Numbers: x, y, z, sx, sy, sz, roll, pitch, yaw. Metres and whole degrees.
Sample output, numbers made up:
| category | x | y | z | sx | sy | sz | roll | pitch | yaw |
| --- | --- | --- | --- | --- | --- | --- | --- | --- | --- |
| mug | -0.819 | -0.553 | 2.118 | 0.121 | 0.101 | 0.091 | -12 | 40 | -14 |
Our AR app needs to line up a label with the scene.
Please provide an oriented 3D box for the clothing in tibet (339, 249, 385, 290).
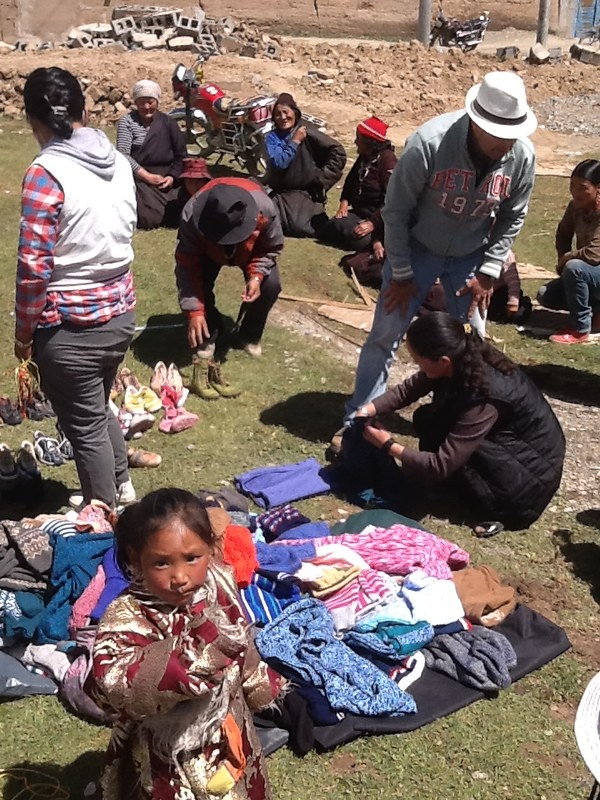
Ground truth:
| category | x | y | z | sx | sy | sz | roll | pitch | yaw |
| --- | --- | --- | --- | --- | --- | --- | --- | --- | --- |
| clothing in tibet | 0.684 | -1.412 | 8.028 | 0.552 | 0.205 | 0.446 | -1 | 59 | 5 |

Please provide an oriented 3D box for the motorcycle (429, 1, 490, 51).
| category | x | y | z | sx | sy | sz | roll | pitch | yaw |
| --- | --- | --- | --- | --- | --- | --- | --- | --- | --- |
| motorcycle | 5.219 | -12.246 | 24.683 | 1.694 | 1.115 | 1.551 | 8 | 23 | 2 |

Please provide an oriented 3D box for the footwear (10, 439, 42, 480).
| category | x | y | z | sx | sy | sz | roll | pitch | yaw |
| --- | --- | --- | --- | --- | --- | --- | --- | --- | --- |
| footwear | -1.589 | 0.335 | 4.299 | 0.119 | 0.111 | 0.303 | -7 | 28 | -20 |

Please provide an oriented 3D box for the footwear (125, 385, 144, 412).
| category | x | y | z | sx | sy | sz | roll | pitch | yaw |
| --- | --- | --- | --- | --- | --- | --- | --- | --- | --- |
| footwear | -1.178 | -0.008 | 5.273 | 0.105 | 0.096 | 0.255 | -12 | 37 | -21 |

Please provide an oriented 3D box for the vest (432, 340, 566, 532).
| category | x | y | z | sx | sy | sz | roll | pitch | yaw |
| --- | --- | --- | --- | --- | --- | --- | --- | --- | --- |
| vest | 1.089 | 0.227 | 4.430 | 0.840 | 0.934 | 0.783 | 4 | 5 | -8 |

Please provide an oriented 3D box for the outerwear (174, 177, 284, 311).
| category | x | y | z | sx | sy | sz | roll | pitch | yaw |
| --- | --- | --- | --- | --- | --- | --- | --- | --- | --- |
| outerwear | -0.518 | -1.238 | 5.654 | 0.852 | 0.661 | 1.088 | 3 | 68 | -9 |

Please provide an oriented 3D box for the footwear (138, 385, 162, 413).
| category | x | y | z | sx | sy | sz | roll | pitch | yaw |
| --- | --- | --- | --- | --- | --- | --- | --- | --- | --- |
| footwear | -1.072 | -0.010 | 5.348 | 0.102 | 0.071 | 0.233 | -15 | 35 | -21 |

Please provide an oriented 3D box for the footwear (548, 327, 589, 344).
| category | x | y | z | sx | sy | sz | roll | pitch | yaw |
| --- | --- | --- | --- | --- | --- | --- | --- | --- | --- |
| footwear | 2.500 | -0.605 | 6.906 | 0.381 | 0.120 | 0.135 | 4 | 1 | -1 |

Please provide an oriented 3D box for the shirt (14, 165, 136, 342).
| category | x | y | z | sx | sy | sz | roll | pitch | yaw |
| --- | --- | --- | --- | --- | --- | --- | --- | --- | --- |
| shirt | -1.004 | -0.656 | 3.321 | 0.389 | 0.669 | 0.654 | 28 | 44 | 26 |

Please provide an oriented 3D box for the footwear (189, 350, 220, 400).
| category | x | y | z | sx | sy | sz | roll | pitch | yaw |
| --- | --- | --- | --- | --- | --- | --- | --- | --- | --- |
| footwear | -0.734 | -0.199 | 5.701 | 0.214 | 0.307 | 0.364 | 1 | 24 | -14 |

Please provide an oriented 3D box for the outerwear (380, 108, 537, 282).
| category | x | y | z | sx | sy | sz | roll | pitch | yaw |
| --- | --- | --- | --- | --- | --- | --- | --- | --- | --- |
| outerwear | 0.925 | -1.205 | 4.465 | 0.939 | 0.965 | 0.509 | -1 | 42 | -9 |

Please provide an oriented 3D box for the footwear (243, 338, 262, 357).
| category | x | y | z | sx | sy | sz | roll | pitch | yaw |
| --- | --- | --- | --- | --- | --- | --- | --- | --- | --- |
| footwear | -0.396 | -0.442 | 6.284 | 0.102 | 0.145 | 0.151 | -8 | 30 | -38 |

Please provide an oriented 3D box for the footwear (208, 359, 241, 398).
| category | x | y | z | sx | sy | sz | roll | pitch | yaw |
| --- | --- | --- | --- | --- | --- | --- | --- | --- | --- |
| footwear | -0.592 | -0.163 | 5.785 | 0.333 | 0.220 | 0.112 | 33 | 54 | 21 |

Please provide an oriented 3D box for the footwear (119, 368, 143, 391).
| category | x | y | z | sx | sy | sz | roll | pitch | yaw |
| --- | --- | --- | --- | --- | --- | --- | --- | --- | --- |
| footwear | -1.277 | -0.154 | 5.582 | 0.138 | 0.076 | 0.217 | -27 | 50 | -29 |

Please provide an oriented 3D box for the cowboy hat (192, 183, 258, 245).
| category | x | y | z | sx | sy | sz | roll | pitch | yaw |
| --- | --- | --- | --- | --- | --- | --- | --- | --- | --- |
| cowboy hat | -0.541 | -1.348 | 5.357 | 0.470 | 0.392 | 0.366 | 5 | 24 | -5 |

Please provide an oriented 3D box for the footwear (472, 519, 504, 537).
| category | x | y | z | sx | sy | sz | roll | pitch | yaw |
| --- | --- | --- | --- | --- | --- | --- | --- | --- | --- |
| footwear | 1.090 | 0.742 | 4.296 | 0.134 | 0.028 | 0.088 | -9 | 36 | -1 |

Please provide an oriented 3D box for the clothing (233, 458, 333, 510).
| category | x | y | z | sx | sy | sz | roll | pitch | yaw |
| --- | --- | --- | --- | --- | --- | --- | --- | --- | --- |
| clothing | -0.094 | 0.506 | 4.638 | 0.398 | 0.099 | 0.311 | -14 | 27 | -31 |

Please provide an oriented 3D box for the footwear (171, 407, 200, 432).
| category | x | y | z | sx | sy | sz | roll | pitch | yaw |
| --- | --- | --- | --- | --- | --- | --- | --- | --- | --- |
| footwear | -0.822 | 0.137 | 5.260 | 0.175 | 0.053 | 0.159 | 13 | 31 | 16 |

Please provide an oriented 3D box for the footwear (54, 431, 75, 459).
| category | x | y | z | sx | sy | sz | roll | pitch | yaw |
| --- | --- | --- | --- | --- | --- | --- | --- | --- | --- |
| footwear | -1.427 | 0.279 | 4.509 | 0.091 | 0.098 | 0.234 | -15 | 45 | -30 |

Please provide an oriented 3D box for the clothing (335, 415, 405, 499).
| category | x | y | z | sx | sy | sz | roll | pitch | yaw |
| --- | --- | --- | --- | --- | --- | --- | --- | --- | --- |
| clothing | 0.463 | 0.367 | 4.678 | 0.424 | 0.485 | 0.212 | -20 | 5 | 28 |

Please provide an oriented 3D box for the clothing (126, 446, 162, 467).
| category | x | y | z | sx | sy | sz | roll | pitch | yaw |
| --- | --- | --- | --- | --- | --- | --- | --- | --- | --- |
| clothing | -0.997 | 0.368 | 4.816 | 0.275 | 0.101 | 0.084 | 3 | 45 | -22 |

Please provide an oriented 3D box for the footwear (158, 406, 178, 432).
| category | x | y | z | sx | sy | sz | roll | pitch | yaw |
| --- | --- | --- | --- | --- | --- | --- | --- | --- | --- |
| footwear | -0.933 | 0.144 | 5.271 | 0.120 | 0.110 | 0.216 | 3 | 23 | -9 |

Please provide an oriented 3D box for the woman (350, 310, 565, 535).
| category | x | y | z | sx | sy | sz | roll | pitch | yaw |
| --- | --- | --- | --- | --- | --- | --- | --- | --- | --- |
| woman | 0.931 | 0.148 | 4.395 | 1.361 | 1.317 | 0.820 | -11 | 28 | -15 |

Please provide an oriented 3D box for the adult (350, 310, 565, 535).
| category | x | y | z | sx | sy | sz | roll | pitch | yaw |
| --- | --- | --- | --- | --- | --- | --- | --- | --- | --- |
| adult | 0.939 | 0.164 | 4.409 | 1.376 | 1.333 | 0.823 | -9 | 27 | -13 |

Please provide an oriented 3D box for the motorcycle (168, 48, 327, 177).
| category | x | y | z | sx | sy | sz | roll | pitch | yaw |
| --- | --- | --- | --- | --- | --- | --- | --- | --- | --- |
| motorcycle | -1.033 | -4.009 | 10.358 | 2.724 | 1.459 | 1.016 | 25 | 49 | 38 |

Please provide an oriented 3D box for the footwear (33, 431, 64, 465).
| category | x | y | z | sx | sy | sz | roll | pitch | yaw |
| --- | --- | --- | --- | --- | --- | --- | --- | --- | --- |
| footwear | -1.650 | 0.302 | 4.791 | 0.278 | 0.107 | 0.131 | 30 | 23 | 38 |

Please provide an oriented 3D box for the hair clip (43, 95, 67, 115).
| category | x | y | z | sx | sy | sz | roll | pitch | yaw |
| --- | --- | --- | --- | --- | --- | --- | --- | --- | --- |
| hair clip | -1.025 | -1.254 | 3.160 | 0.039 | 0.077 | 0.112 | 22 | 27 | 26 |

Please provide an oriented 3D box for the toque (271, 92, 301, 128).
| category | x | y | z | sx | sy | sz | roll | pitch | yaw |
| --- | --- | --- | --- | --- | --- | --- | --- | --- | --- |
| toque | -0.156 | -3.419 | 8.821 | 0.412 | 0.473 | 0.245 | 2 | 66 | -2 |

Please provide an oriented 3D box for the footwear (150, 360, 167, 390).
| category | x | y | z | sx | sy | sz | roll | pitch | yaw |
| --- | --- | --- | --- | --- | --- | --- | --- | --- | --- |
| footwear | -1.059 | -0.185 | 5.622 | 0.107 | 0.113 | 0.256 | 11 | 74 | -10 |
